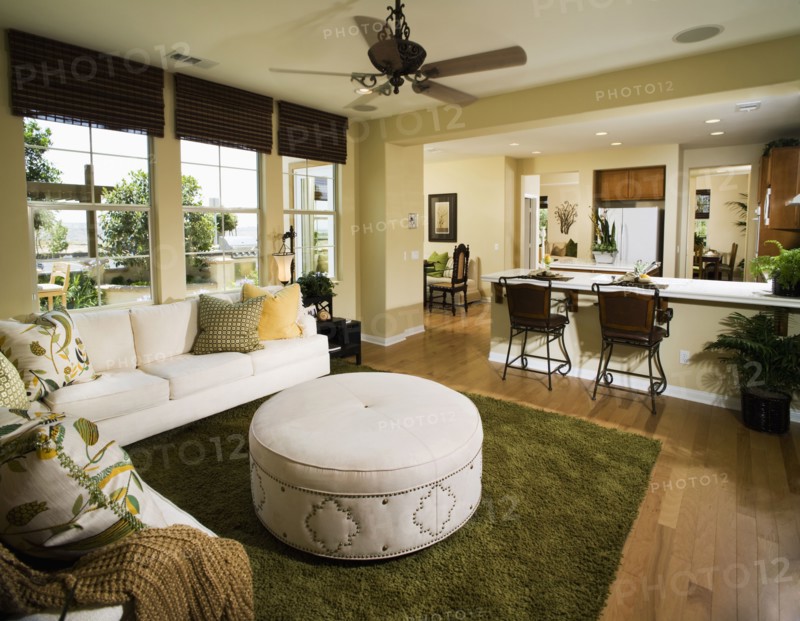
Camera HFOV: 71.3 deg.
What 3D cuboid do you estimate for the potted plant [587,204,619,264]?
[{"bbox_3d":[2.955,-1.077,7.972,0.344,0.732,0.565,3,11,21],"label":"potted plant"}]

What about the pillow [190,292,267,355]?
[{"bbox_3d":[-1.355,0.138,4.674,0.712,0.400,0.711,-1,41,-14],"label":"pillow"}]

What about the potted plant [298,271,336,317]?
[{"bbox_3d":[-0.867,-0.216,5.721,0.396,0.511,0.369,5,12,31],"label":"potted plant"}]

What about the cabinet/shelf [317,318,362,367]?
[{"bbox_3d":[-0.616,0.236,5.687,0.312,0.425,0.574,-12,19,-38],"label":"cabinet/shelf"}]

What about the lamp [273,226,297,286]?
[{"bbox_3d":[-1.185,-0.604,5.926,0.164,0.610,0.871,-3,11,-10],"label":"lamp"}]

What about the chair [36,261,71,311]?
[{"bbox_3d":[-2.789,-0.195,4.509,0.256,0.499,0.283,8,6,33],"label":"chair"}]

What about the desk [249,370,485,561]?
[{"bbox_3d":[-0.200,0.900,3.257,1.356,0.651,0.956,1,11,10],"label":"desk"}]

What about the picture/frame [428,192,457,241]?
[{"bbox_3d":[0.803,-1.735,10.077,0.069,1.140,0.723,-7,10,-41],"label":"picture/frame"}]

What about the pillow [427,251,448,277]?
[{"bbox_3d":[0.702,-0.754,9.225,0.163,0.435,0.408,13,2,-27],"label":"pillow"}]
